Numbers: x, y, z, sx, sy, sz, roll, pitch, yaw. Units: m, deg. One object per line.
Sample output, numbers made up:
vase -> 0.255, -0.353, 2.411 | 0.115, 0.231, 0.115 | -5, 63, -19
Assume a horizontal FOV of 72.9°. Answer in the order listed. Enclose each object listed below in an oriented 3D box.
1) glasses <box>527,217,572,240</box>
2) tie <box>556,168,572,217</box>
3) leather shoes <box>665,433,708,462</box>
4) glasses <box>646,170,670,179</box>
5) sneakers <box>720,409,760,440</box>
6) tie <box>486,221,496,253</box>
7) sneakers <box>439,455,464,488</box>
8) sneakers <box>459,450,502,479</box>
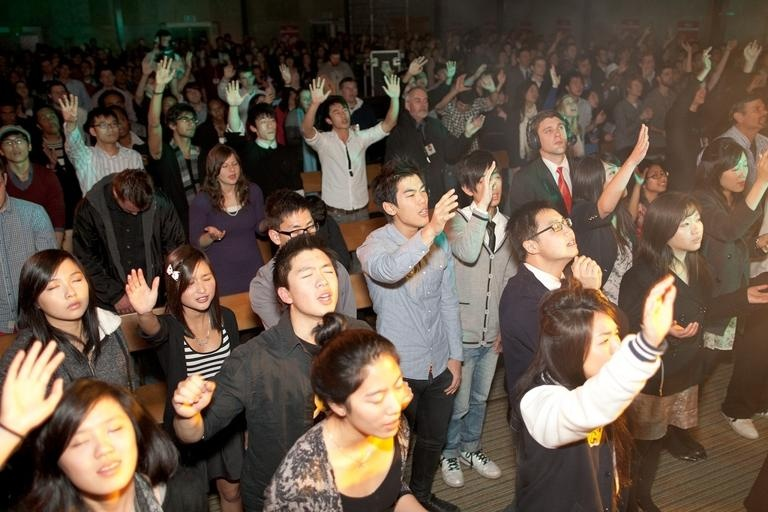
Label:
glasses -> 1.084, -0.149, 3.403 | 0.203, 0.059, 0.198 | -28, -12, 22
tie -> 1.577, -0.565, 4.594 | 0.149, 0.385, 0.187 | 5, 21, 15
leather shoes -> 2.543, 1.594, 4.401 | 0.265, 0.142, 0.269 | -9, 22, -23
glasses -> 2.766, -0.804, 5.209 | 0.256, 0.083, 0.110 | -12, 23, -29
sneakers -> 3.186, 1.512, 4.660 | 0.110, 0.113, 0.297 | -23, 29, -5
tie -> 0.802, -0.135, 3.939 | 0.058, 0.253, 0.065 | -5, -1, 36
sneakers -> 0.546, 1.726, 4.212 | 0.104, 0.114, 0.282 | -2, 1, -7
sneakers -> 0.781, 1.675, 4.312 | 0.329, 0.156, 0.139 | 16, 33, 34
